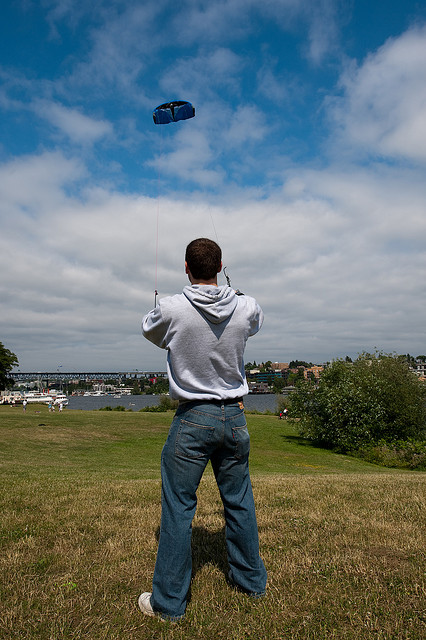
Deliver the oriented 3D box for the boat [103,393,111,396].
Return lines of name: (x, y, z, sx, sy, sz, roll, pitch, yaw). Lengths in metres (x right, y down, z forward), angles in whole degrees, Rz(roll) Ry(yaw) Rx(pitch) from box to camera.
boat: (-56.422, 39.343, 264.897, 1.820, 1.078, 2.663, 1, -4, 6)

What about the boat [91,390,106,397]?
boat: (-59.268, 38.060, 260.124, 6.326, 2.015, 20.968, 0, -5, -13)

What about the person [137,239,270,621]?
person: (-0.053, 0.742, 3.824, 0.927, 2.756, 0.503, 2, -6, -37)

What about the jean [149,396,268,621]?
jean: (-0.034, 1.355, 3.759, 0.846, 1.523, 0.392, 2, -6, -39)

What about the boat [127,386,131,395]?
boat: (-45.777, 38.227, 271.726, 1.300, 4.330, 5.436, 0, -5, -15)
